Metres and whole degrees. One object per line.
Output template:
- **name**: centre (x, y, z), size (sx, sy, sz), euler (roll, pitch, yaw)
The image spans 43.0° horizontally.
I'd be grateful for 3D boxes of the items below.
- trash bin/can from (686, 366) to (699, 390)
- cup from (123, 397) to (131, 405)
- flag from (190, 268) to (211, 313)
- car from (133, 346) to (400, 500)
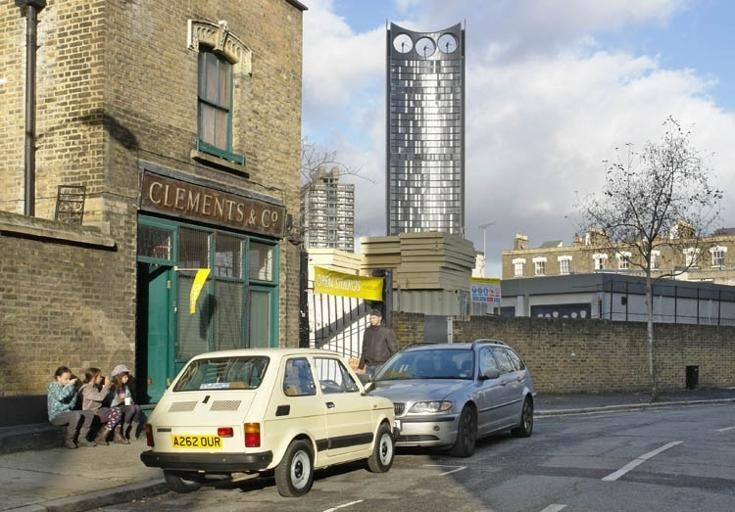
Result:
- **trash bin/can**: centre (14.431, 5.423, 41.673), size (0.594, 0.989, 0.308), euler (-2, -5, 6)
- **cup**: centre (-4.827, 2.933, 18.766), size (0.125, 0.152, 0.131), euler (0, -8, 0)
- **flag**: centre (-3.795, 0.774, 21.068), size (0.478, 1.041, 1.363), euler (0, -6, -10)
- **car**: centre (-1.446, 2.628, 16.003), size (2.036, 1.818, 3.790), euler (-3, -2, 32)
